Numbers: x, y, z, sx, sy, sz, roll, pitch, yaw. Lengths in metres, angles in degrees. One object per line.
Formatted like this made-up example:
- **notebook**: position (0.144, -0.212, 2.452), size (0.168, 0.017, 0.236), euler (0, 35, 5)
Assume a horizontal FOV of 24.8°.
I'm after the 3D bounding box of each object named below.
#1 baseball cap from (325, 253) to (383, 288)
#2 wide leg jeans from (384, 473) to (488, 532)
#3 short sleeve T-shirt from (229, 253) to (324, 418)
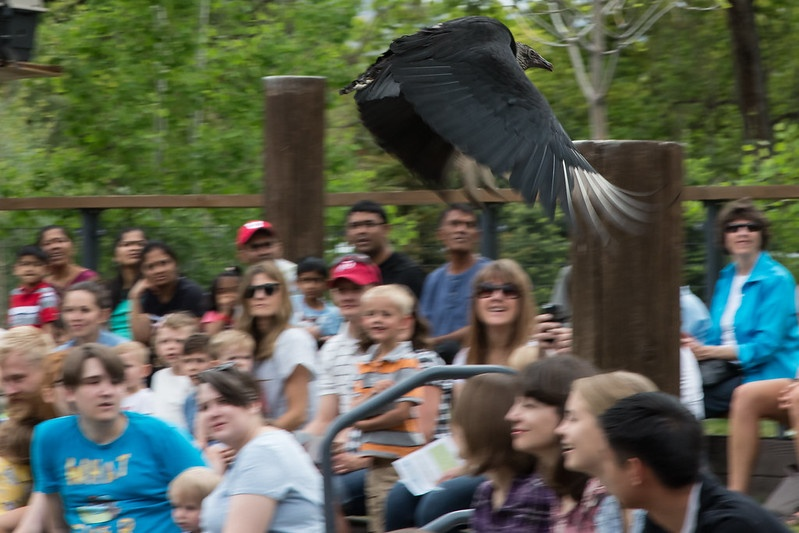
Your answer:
- **baseball cap**: position (-0.386, 0.015, 15.230), size (0.433, 0.256, 0.300), euler (-3, 2, -15)
- **wide leg jeans**: position (0.229, 1.808, 13.941), size (0.791, 0.536, 0.531), euler (3, -8, -7)
- **short sleeve T-shirt**: position (-1.028, 0.609, 15.000), size (0.598, 0.872, 0.590), euler (-5, 2, -12)
